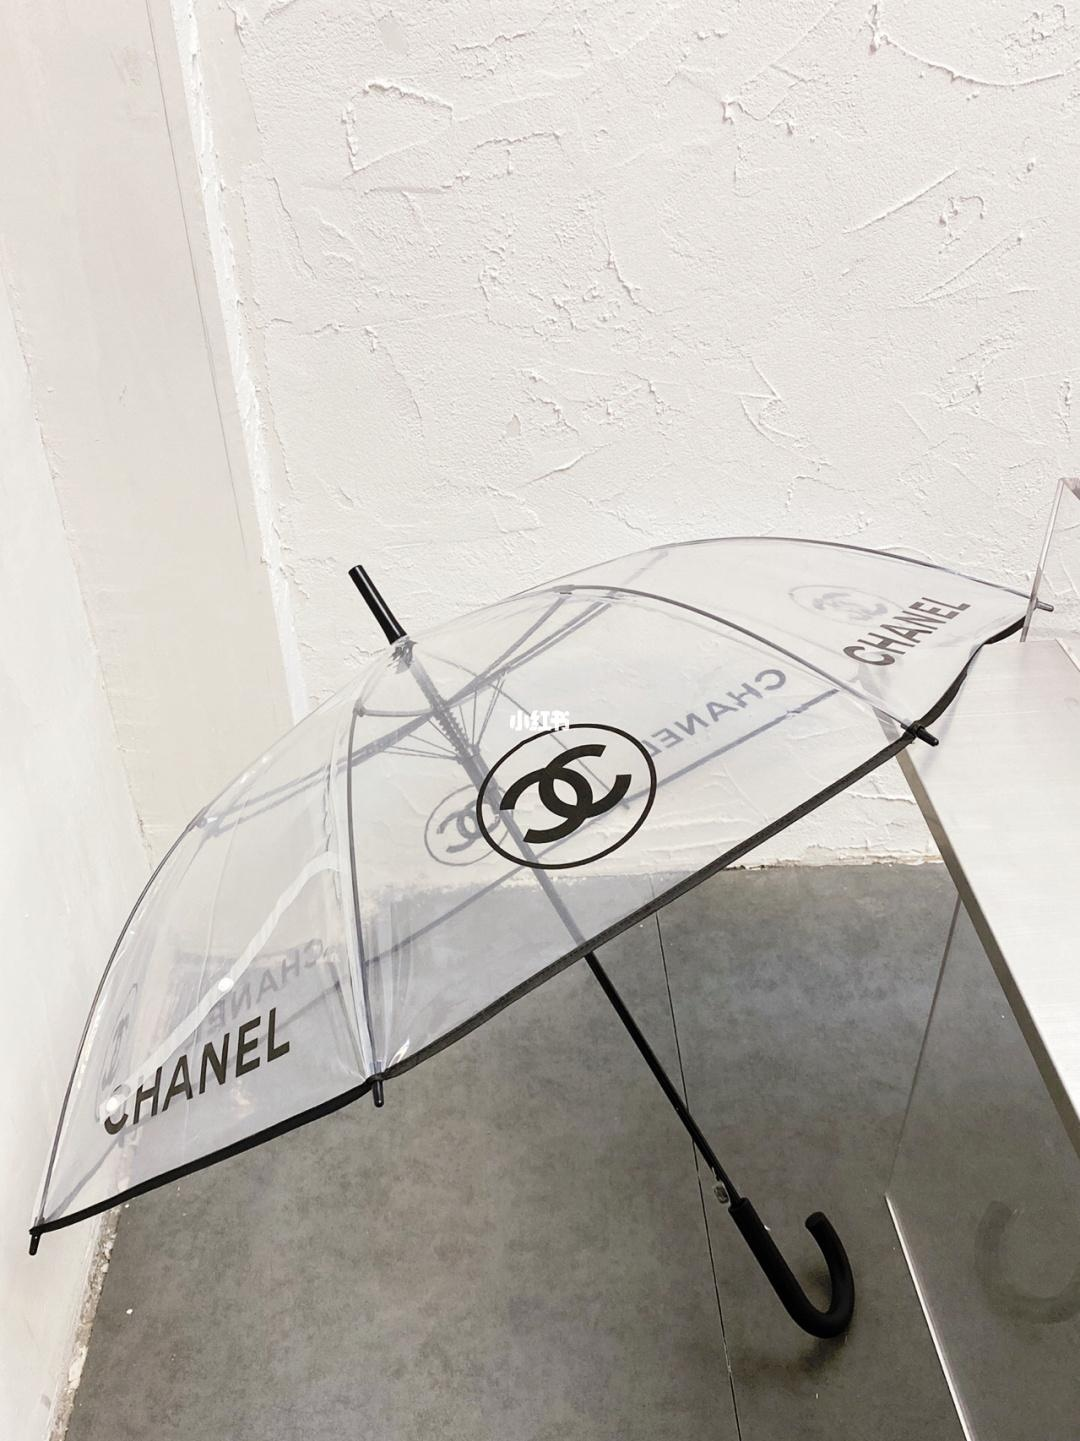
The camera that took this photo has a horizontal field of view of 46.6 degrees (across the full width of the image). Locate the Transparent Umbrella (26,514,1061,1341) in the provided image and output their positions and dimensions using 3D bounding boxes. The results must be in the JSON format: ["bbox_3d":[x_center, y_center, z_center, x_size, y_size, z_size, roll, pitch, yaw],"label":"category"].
[{"bbox_3d":[0.082,0.182,1.376,0.795,0.623,0.802,-37,16,11],"label":"Transparent Umbrella"}]
